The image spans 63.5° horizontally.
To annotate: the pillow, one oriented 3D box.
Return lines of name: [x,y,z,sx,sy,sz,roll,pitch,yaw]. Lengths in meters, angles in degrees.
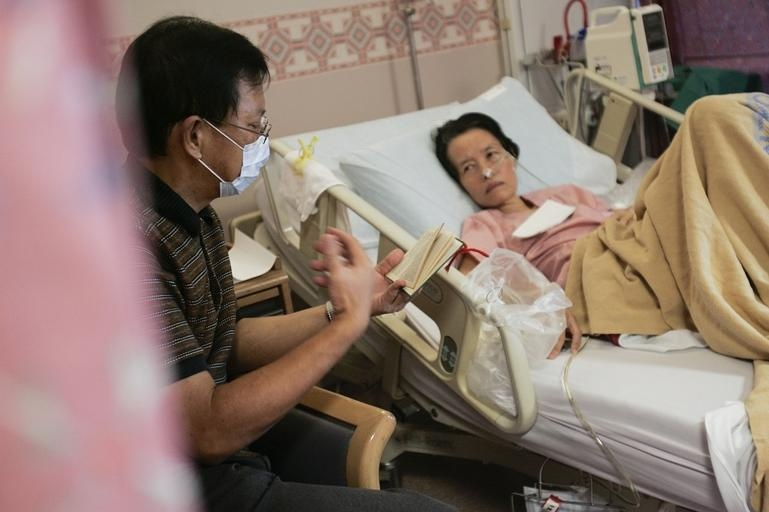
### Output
pillow: [0.370,-0.399,2.400,0.803,0.250,0.778,-27,63,-31]

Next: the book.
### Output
book: [0.103,0.021,1.396,0.168,0.061,0.150,-54,35,-4]

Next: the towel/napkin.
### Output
towel/napkin: [-0.241,-0.198,2.032,0.118,0.172,0.303,-11,33,-23]
